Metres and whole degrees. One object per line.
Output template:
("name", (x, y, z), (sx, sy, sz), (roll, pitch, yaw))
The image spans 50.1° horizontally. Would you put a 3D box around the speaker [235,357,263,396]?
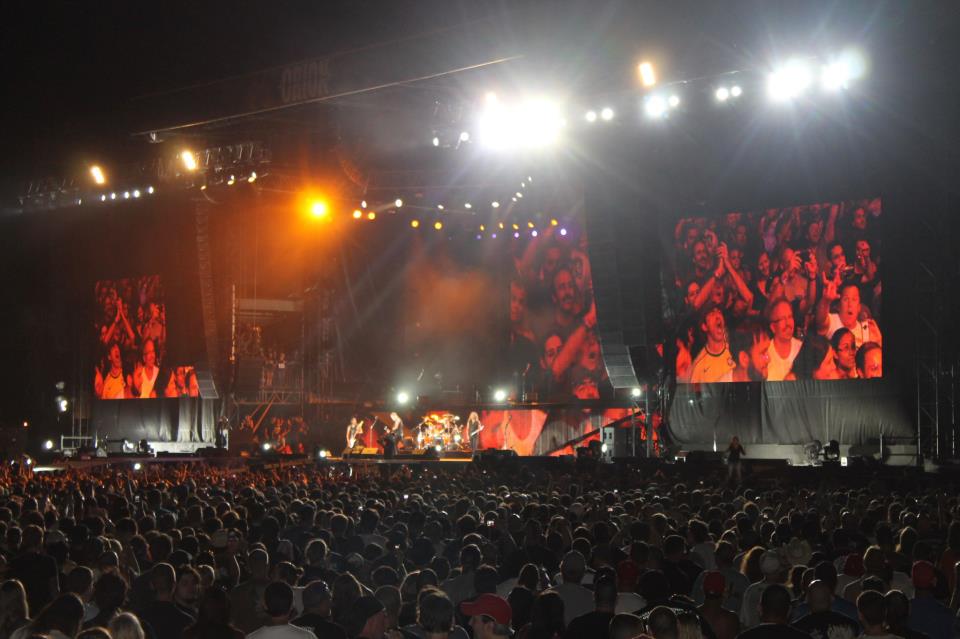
("speaker", (-9.291, 2.299, 41.093), (1.077, 1.487, 0.281), (2, -10, -16))
